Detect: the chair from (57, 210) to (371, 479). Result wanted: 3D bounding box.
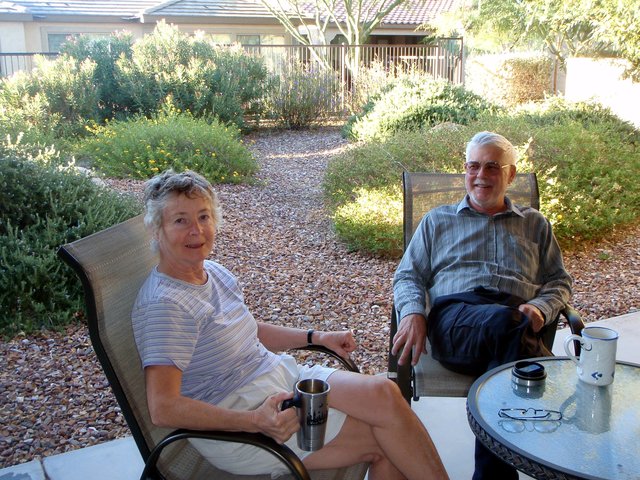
[{"bbox_3d":[-0.159,0.243,2.008,1.024,1.420,0.878,-12,11,15],"label":"chair"}]

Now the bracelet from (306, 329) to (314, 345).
[{"bbox_3d":[-0.044,0.448,2.006,0.038,0.062,0.055,5,20,8],"label":"bracelet"}]

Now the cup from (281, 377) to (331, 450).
[{"bbox_3d":[-0.052,0.630,1.457,0.144,0.326,0.131,-12,18,-40],"label":"cup"}]
